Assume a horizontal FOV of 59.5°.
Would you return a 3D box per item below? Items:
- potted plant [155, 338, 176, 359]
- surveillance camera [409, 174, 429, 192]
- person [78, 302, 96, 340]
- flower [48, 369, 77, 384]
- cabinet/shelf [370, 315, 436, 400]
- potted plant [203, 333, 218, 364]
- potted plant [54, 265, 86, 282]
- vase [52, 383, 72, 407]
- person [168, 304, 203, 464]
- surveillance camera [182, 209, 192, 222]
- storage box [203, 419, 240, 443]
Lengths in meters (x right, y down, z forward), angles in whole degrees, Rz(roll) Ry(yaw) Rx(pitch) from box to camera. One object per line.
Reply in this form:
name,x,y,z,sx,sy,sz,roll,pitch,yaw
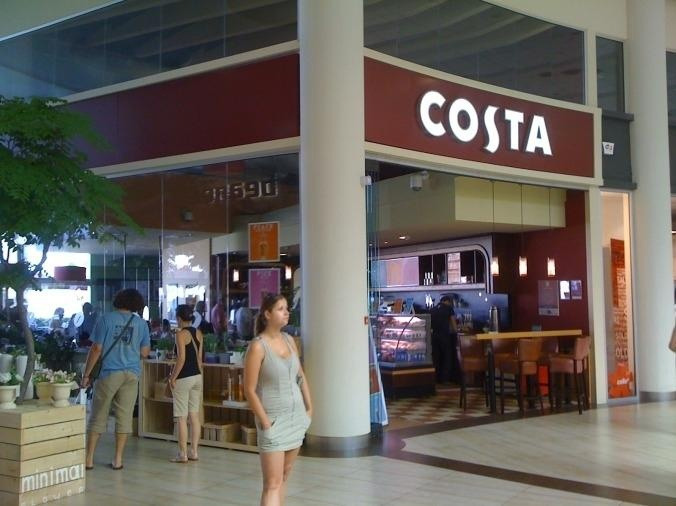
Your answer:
potted plant,-2.508,1.408,8.614,0.261,0.352,0.316,4,-5,-40
surveillance camera,1.713,-1.497,12.528,0.373,0.326,0.544,-1,-3,12
person,-4.206,1.032,9.943,0.233,0.923,0.242,-12,-9,39
flower,-3.042,1.378,6.510,0.258,0.140,0.515,1,-3,-29
cabinet/shelf,1.204,2.020,11.035,0.892,1.675,1.688,1,-7,-22
potted plant,-1.786,1.375,8.274,0.261,0.491,0.300,2,-10,-22
potted plant,-4.445,0.369,9.863,0.311,0.152,0.330,1,-6,-2
vase,-2.965,1.526,6.340,0.199,0.244,0.209,1,-3,-20
person,-1.861,1.618,7.311,0.260,1.900,0.456,-1,-3,19
surveillance camera,-2.289,-0.563,9.000,0.170,0.142,0.149,0,8,1
storage box,-1.575,2.424,7.930,0.286,0.193,0.298,-3,-7,31
